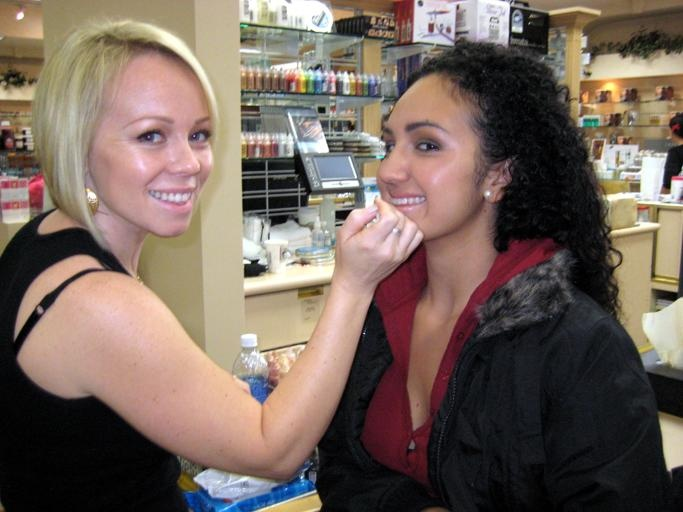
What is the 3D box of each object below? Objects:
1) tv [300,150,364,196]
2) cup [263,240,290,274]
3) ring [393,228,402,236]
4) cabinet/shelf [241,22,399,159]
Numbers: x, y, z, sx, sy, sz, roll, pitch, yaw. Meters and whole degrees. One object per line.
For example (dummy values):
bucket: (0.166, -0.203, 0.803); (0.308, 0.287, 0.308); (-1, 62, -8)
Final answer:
tv: (-0.067, -0.508, 3.429); (0.412, 0.253, 0.060); (-9, -13, -43)
cup: (-0.368, -0.015, 3.198); (0.105, 0.157, 0.160); (16, 30, 29)
ring: (0.130, -0.058, 1.338); (0.015, 0.016, 0.005); (13, -27, -30)
cabinet/shelf: (-0.176, -1.084, 3.622); (1.350, 0.824, 0.424); (-4, 3, -42)
